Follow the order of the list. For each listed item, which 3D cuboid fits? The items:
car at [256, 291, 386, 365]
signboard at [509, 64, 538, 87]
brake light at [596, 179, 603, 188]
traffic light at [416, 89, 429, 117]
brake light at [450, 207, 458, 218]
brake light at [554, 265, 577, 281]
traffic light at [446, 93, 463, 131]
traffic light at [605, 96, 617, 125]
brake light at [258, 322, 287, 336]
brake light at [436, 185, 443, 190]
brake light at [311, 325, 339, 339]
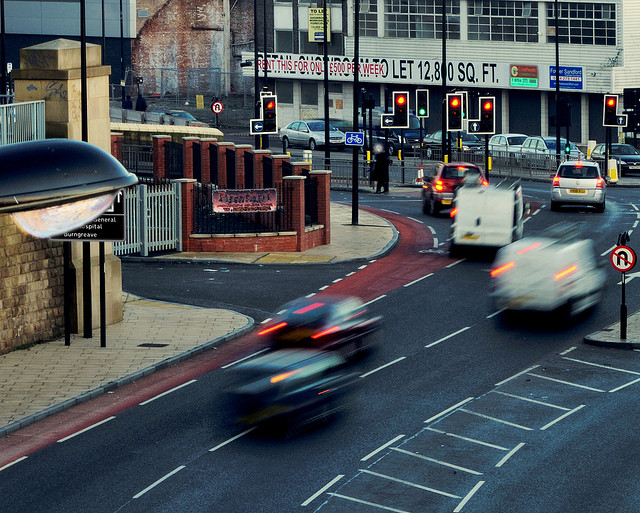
[{"bbox_3d":[0.147,1.258,18.909,1.280,0.843,2.732,1,2,22],"label":"car"},{"bbox_3d":[13.365,-11.577,72.741,1.767,1.118,0.225,0,4,7],"label":"signboard"},{"bbox_3d":[10.154,-2.604,40.423,0.261,0.288,0.117,-2,13,-6],"label":"brake light"},{"bbox_3d":[4.246,-6.163,45.820,0.416,1.077,0.806,-1,12,1],"label":"traffic light"},{"bbox_3d":[3.728,-1.219,30.818,0.067,0.310,0.340,-6,13,-18],"label":"brake light"},{"bbox_3d":[5.178,0.335,23.436,0.731,0.223,0.083,-19,13,-31],"label":"brake light"},{"bbox_3d":[5.531,-5.827,45.703,0.577,1.523,1.260,0,12,4],"label":"traffic light"},{"bbox_3d":[13.615,-6.714,52.168,0.503,1.326,0.622,2,13,13],"label":"traffic light"},{"bbox_3d":[-0.733,1.134,17.837,0.451,0.231,0.173,6,14,29],"label":"brake light"},{"bbox_3d":[4.336,-2.464,40.264,0.064,0.166,0.276,-13,17,-42],"label":"brake light"},{"bbox_3d":[0.073,1.179,17.789,0.622,0.058,0.080,-17,16,-27],"label":"brake light"}]
